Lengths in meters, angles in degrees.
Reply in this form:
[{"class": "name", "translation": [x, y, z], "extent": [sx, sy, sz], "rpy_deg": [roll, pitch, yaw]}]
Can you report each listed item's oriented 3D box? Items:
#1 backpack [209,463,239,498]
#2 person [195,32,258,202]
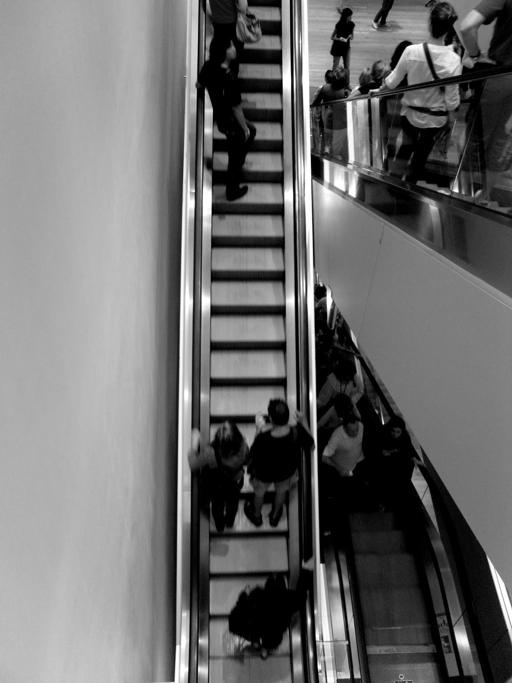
[{"class": "backpack", "translation": [-0.221, 0.963, 4.202], "extent": [0.150, 0.055, 0.236], "rpy_deg": [6, -63, -4]}, {"class": "person", "translation": [-0.225, -1.875, 5.231], "extent": [0.354, 0.433, 1.344], "rpy_deg": [-13, -48, -8]}]
